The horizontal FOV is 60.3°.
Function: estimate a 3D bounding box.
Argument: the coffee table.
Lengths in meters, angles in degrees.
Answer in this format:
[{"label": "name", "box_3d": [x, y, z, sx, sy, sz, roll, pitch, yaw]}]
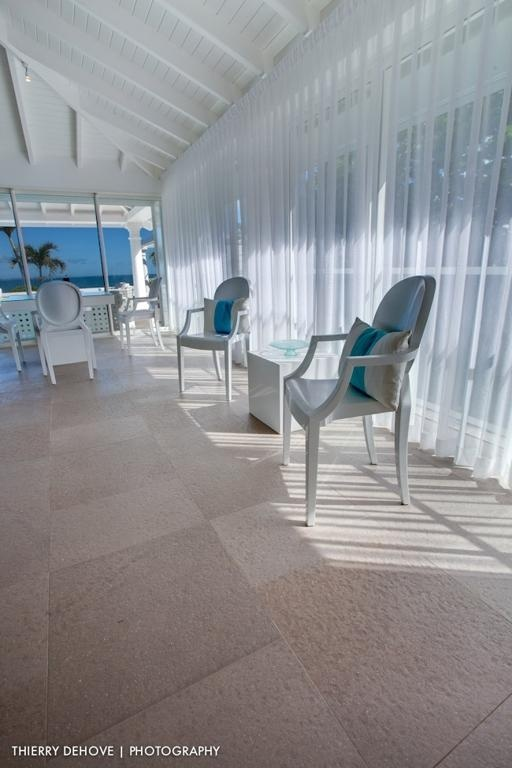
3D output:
[{"label": "coffee table", "box_3d": [0.196, 0.033, 2.754, 0.468, 0.544, 0.512, -14, 29, -25]}]

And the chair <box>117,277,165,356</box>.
[{"label": "chair", "box_3d": [-1.476, -0.913, 5.575, 0.462, 0.888, 0.491, -8, 18, -32]}]

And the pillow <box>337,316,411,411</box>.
[{"label": "pillow", "box_3d": [0.481, -0.097, 1.777, 0.123, 0.313, 0.413, 8, 11, -20]}]

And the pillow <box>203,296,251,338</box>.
[{"label": "pillow", "box_3d": [-0.239, -0.546, 3.599, 0.350, 0.381, 0.203, 2, 7, 20]}]

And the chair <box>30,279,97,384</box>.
[{"label": "chair", "box_3d": [-1.779, -0.487, 4.048, 0.463, 0.899, 0.474, -8, 14, -26]}]
